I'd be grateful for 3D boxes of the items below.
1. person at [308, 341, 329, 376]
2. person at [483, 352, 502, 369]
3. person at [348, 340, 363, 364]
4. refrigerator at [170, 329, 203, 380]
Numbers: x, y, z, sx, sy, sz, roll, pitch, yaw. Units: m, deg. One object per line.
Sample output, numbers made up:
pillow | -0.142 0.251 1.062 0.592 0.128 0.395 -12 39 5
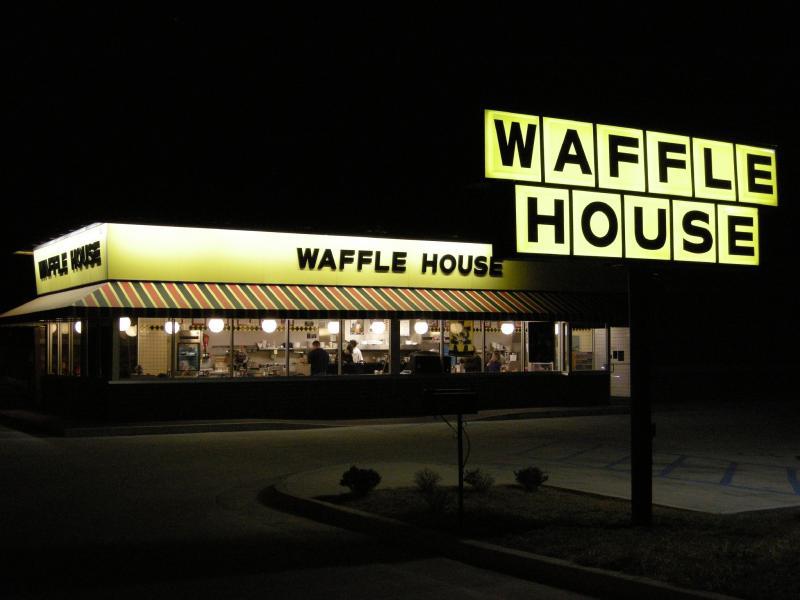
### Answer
person | -2.649 1.846 25.094 0.662 1.077 0.615 -2 -5 -8
person | 3.232 2.154 27.764 0.285 0.661 0.905 -7 -6 42
person | -1.500 1.703 26.294 0.315 0.742 1.054 -3 -5 7
refrigerator | -6.959 1.702 25.029 1.153 1.899 0.968 -5 -6 44
